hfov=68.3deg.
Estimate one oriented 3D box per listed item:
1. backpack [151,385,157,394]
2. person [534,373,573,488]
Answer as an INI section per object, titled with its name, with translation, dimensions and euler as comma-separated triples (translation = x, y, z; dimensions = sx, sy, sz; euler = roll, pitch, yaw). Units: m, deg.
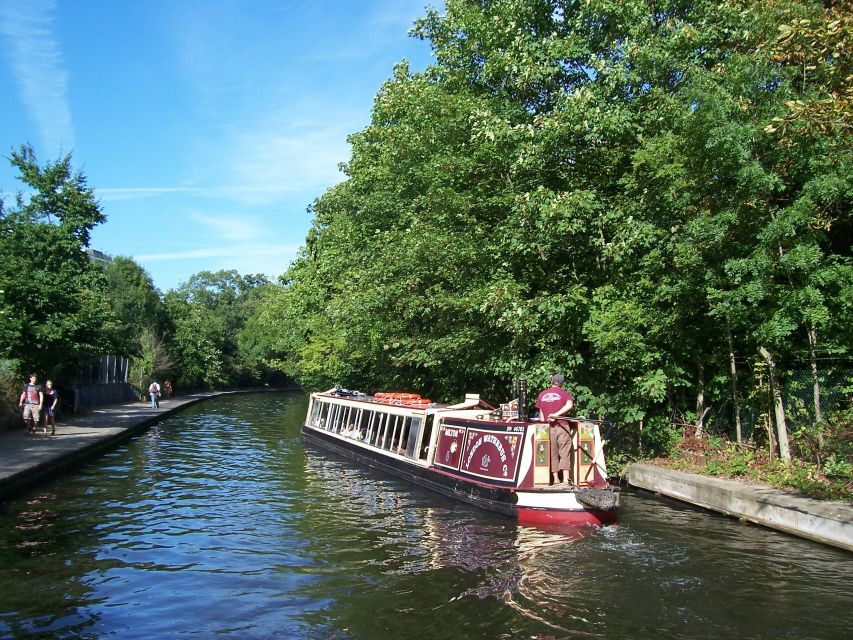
[backpack]
translation = -19.538, 4.970, 44.966
dimensions = 0.291, 0.613, 0.517
euler = 6, 1, 17
[person]
translation = 3.328, 2.821, 16.212
dimensions = 0.827, 2.800, 0.584
euler = 0, -2, 10
